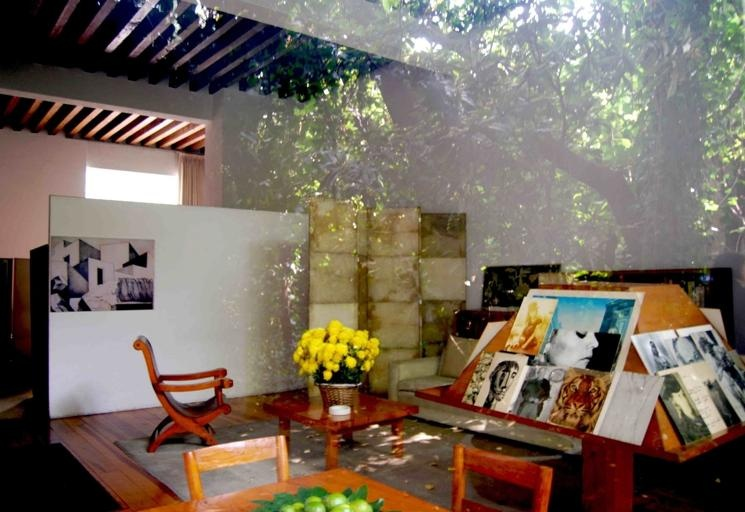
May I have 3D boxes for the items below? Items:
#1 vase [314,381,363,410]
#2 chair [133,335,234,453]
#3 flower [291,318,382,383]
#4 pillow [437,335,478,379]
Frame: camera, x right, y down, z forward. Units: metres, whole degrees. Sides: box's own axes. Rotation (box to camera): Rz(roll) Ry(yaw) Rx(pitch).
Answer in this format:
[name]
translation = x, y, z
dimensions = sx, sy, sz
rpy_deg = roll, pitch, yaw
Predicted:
[vase]
translation = -0.291, 1.204, 4.594
dimensions = 0.349, 0.246, 0.317
rpy_deg = 0, 1, -1
[chair]
translation = -1.809, 1.345, 5.207
dimensions = 0.893, 0.955, 0.720
rpy_deg = 3, -5, -15
[flower]
translation = -0.273, 0.826, 4.723
dimensions = 0.600, 0.472, 0.645
rpy_deg = -10, -7, 35
[pillow]
translation = 0.993, 1.164, 6.043
dimensions = 0.204, 0.426, 0.429
rpy_deg = 22, -6, -36
